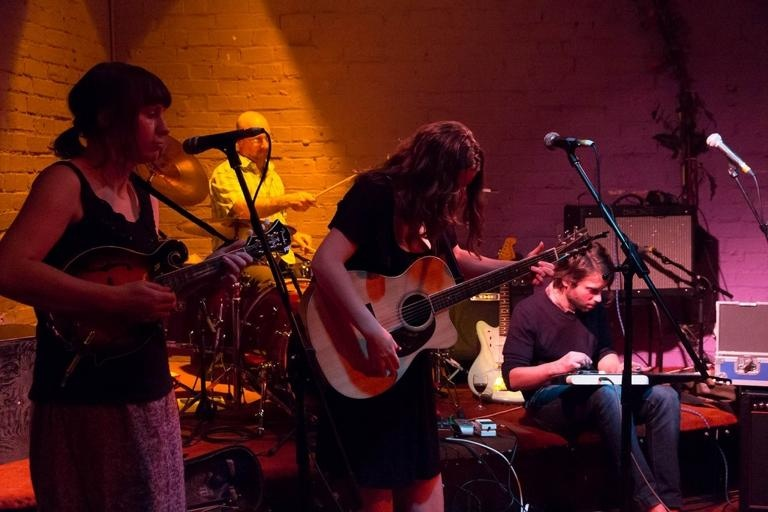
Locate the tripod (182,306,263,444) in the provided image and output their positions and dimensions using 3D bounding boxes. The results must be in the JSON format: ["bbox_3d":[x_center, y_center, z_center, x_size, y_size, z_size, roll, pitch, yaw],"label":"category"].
[{"bbox_3d":[-1.251,0.827,5.015,0.791,0.939,0.698,-1,-7,3],"label":"tripod"}]

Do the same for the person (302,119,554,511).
[{"bbox_3d":[0.100,0.310,3.420,0.865,1.831,0.508,-2,-7,-5],"label":"person"}]

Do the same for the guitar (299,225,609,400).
[{"bbox_3d":[0.141,0.350,3.335,0.149,0.550,1.345,32,-32,-8],"label":"guitar"}]
